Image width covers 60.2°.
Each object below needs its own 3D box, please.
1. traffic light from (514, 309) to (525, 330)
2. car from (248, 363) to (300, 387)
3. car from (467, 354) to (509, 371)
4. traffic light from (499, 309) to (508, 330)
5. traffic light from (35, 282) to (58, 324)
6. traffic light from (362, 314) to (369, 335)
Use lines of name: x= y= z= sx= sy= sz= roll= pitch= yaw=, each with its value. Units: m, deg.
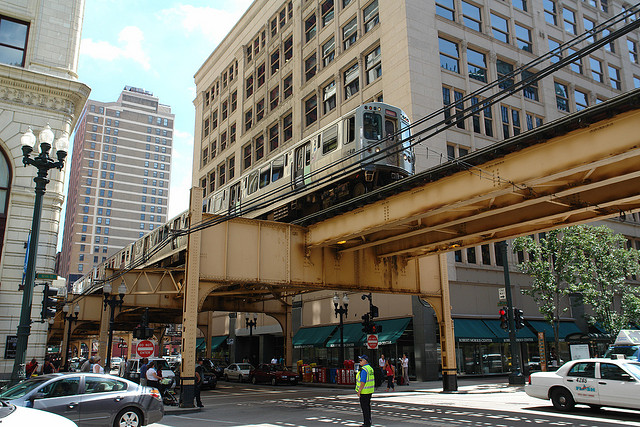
traffic light: x=12.008 y=6.320 z=33.523 sx=0.448 sy=1.083 sz=1.108 roll=-6 pitch=-39 yaw=8
car: x=-3.434 y=11.732 z=40.314 sx=1.361 sy=1.553 sz=4.182 roll=12 pitch=-21 yaw=-37
car: x=12.355 y=11.277 z=41.950 sx=3.990 sy=1.297 sz=1.278 roll=6 pitch=-15 yaw=-22
traffic light: x=11.048 y=6.328 z=33.354 sx=0.364 sy=1.165 sz=0.606 roll=-14 pitch=-21 yaw=34
traffic light: x=-12.020 y=3.888 z=23.933 sx=0.415 sy=1.726 sz=1.230 roll=-7 pitch=-17 yaw=24
traffic light: x=2.663 y=6.324 z=31.907 sx=0.318 sy=1.006 sz=0.745 roll=-2 pitch=-17 yaw=0
